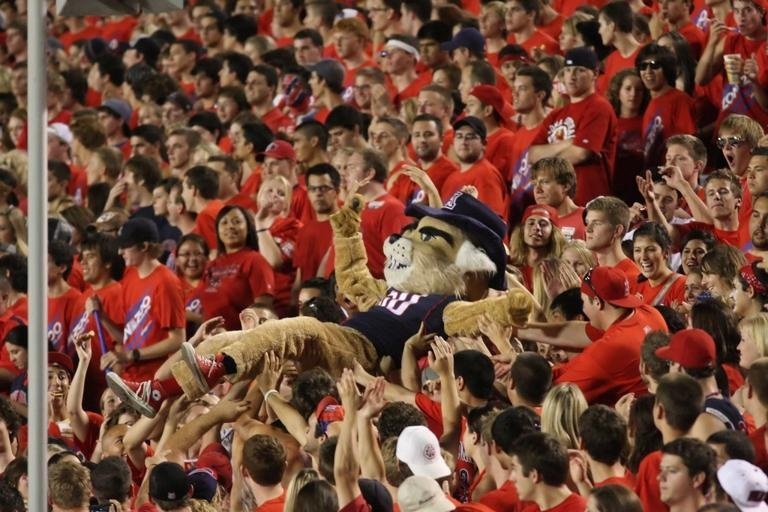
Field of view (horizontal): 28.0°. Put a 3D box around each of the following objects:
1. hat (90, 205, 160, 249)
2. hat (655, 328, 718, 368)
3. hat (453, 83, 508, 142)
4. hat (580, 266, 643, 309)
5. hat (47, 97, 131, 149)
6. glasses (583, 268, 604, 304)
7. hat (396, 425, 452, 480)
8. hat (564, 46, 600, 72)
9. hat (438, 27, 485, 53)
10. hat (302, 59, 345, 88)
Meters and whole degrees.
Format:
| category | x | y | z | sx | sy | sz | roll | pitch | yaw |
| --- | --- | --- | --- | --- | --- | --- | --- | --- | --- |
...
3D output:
| category | x | y | z | sx | sy | sz | roll | pitch | yaw |
| --- | --- | --- | --- | --- | --- | --- | --- | --- | --- |
| hat | -2.569 | -0.302 | 15.281 | 0.634 | 0.351 | 0.417 | 18 | 6 | -5 |
| hat | 2.292 | 0.676 | 11.717 | 0.478 | 0.269 | 0.359 | 2 | 2 | 0 |
| hat | 1.004 | -1.429 | 15.011 | 0.476 | 0.532 | 0.322 | -27 | 31 | -6 |
| hat | 1.845 | 0.228 | 12.317 | 0.524 | 0.240 | 0.352 | 16 | 19 | 24 |
| hat | -3.271 | -1.575 | 17.331 | 0.805 | 0.430 | 0.488 | 25 | 8 | -19 |
| glasses | 1.652 | 0.242 | 12.330 | 0.230 | 0.113 | 0.179 | 54 | 28 | 18 |
| hat | 0.286 | 1.415 | 11.170 | 0.326 | 0.275 | 0.514 | -9 | 23 | -25 |
| hat | 1.876 | -1.870 | 14.677 | 0.226 | 0.159 | 0.238 | 5 | 6 | -2 |
| hat | 0.830 | -2.266 | 16.122 | 0.335 | 0.192 | 0.230 | 12 | 21 | 10 |
| hat | -0.615 | -1.999 | 16.545 | 0.455 | 0.257 | 0.324 | -1 | 7 | -18 |
